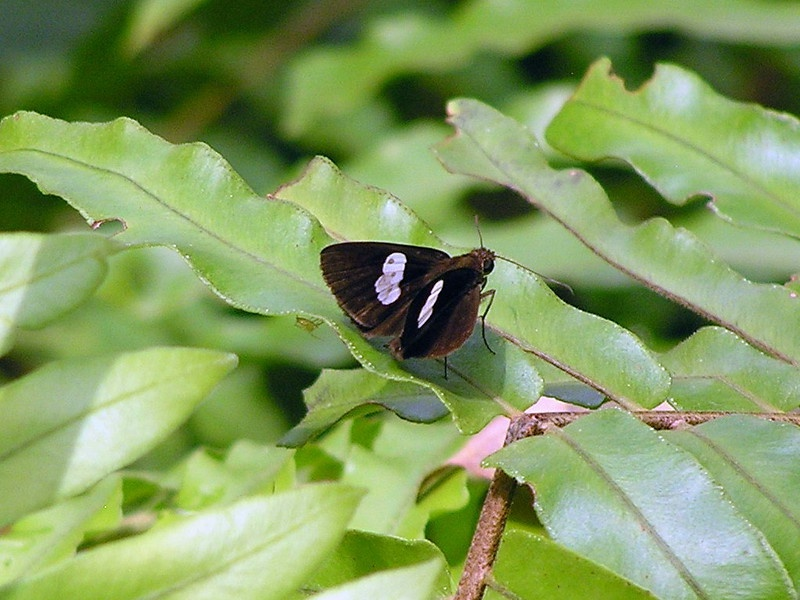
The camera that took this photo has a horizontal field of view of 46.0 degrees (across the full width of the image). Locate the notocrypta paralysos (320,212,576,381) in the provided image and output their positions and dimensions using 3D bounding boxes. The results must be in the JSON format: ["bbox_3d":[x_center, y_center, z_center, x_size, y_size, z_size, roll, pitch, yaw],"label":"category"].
[{"bbox_3d":[0.022,-0.020,1.275,0.211,0.098,0.213,-27,39,-26],"label":"notocrypta paralysos"}]
